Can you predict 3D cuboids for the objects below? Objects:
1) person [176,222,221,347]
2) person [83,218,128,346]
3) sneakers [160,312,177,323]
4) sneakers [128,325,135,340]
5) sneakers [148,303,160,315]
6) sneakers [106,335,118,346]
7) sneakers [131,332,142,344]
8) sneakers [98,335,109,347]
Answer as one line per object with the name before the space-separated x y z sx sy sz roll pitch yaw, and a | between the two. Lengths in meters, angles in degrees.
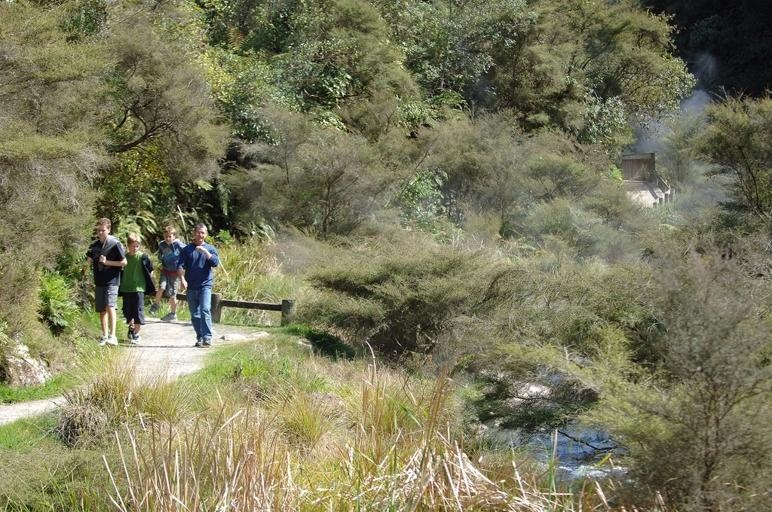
person | -3.460 0.564 18.576 0.648 2.213 0.555 3 10 5
person | -4.970 0.501 17.936 0.654 2.276 1.051 -2 11 -18
sneakers | -4.502 1.277 20.914 0.290 0.151 0.157 1 1 33
sneakers | -4.696 1.405 18.610 0.102 0.328 0.123 3 -4 34
sneakers | -4.895 1.113 21.287 0.183 0.248 0.340 25 -6 -10
sneakers | -4.800 1.485 17.688 0.139 0.194 0.414 1 -10 -10
sneakers | -4.597 1.513 18.513 0.143 0.196 0.410 2 -7 -13
sneakers | -5.016 1.503 17.821 0.126 0.191 0.409 0 -9 -5
